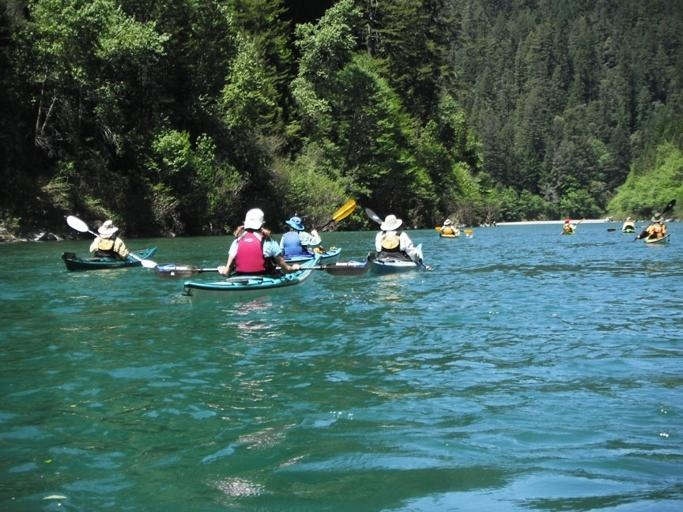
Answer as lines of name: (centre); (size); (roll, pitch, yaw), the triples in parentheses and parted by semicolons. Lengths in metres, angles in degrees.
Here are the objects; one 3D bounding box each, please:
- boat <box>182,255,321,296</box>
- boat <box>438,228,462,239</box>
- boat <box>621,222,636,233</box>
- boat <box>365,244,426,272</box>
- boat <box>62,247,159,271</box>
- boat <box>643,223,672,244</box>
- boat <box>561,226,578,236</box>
boat: (-1.469, 0.500, 16.792); (2.930, 0.373, 0.934); (-9, 14, -43)
boat: (5.954, -1.249, 42.333); (1.268, 0.452, 1.403); (0, 2, 3)
boat: (17.254, -1.702, 46.172); (1.103, 0.341, 1.568); (0, 6, 20)
boat: (1.468, 0.145, 20.566); (0.711, 0.343, 1.983); (7, 5, 34)
boat: (-6.446, 0.093, 21.562); (0.952, 0.527, 3.462); (4, 3, 31)
boat: (13.790, -0.907, 33.425); (0.684, 0.723, 1.817); (-1, 0, 11)
boat: (14.756, -1.608, 49.711); (1.208, 0.481, 1.291); (-2, 8, 13)
